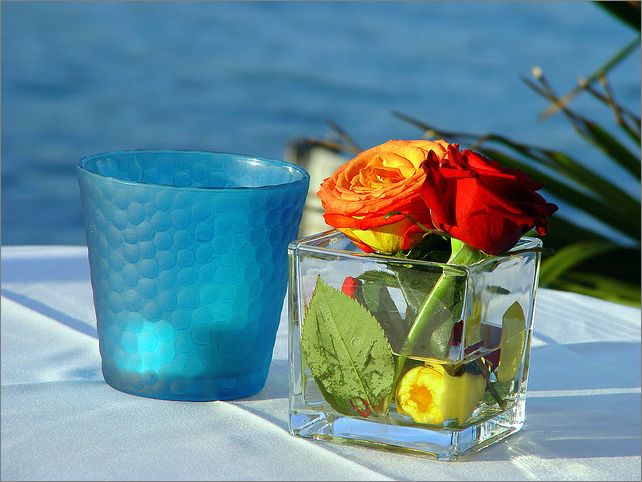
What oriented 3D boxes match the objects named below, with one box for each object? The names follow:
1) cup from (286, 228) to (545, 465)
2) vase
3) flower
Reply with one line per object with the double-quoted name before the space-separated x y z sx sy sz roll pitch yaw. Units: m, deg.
"cup" 0.053 0.068 0.666 0.183 0.140 0.174 2 2 0
"vase" 0.055 0.068 0.667 0.181 0.142 0.175 3 1 35
"flower" 0.068 0.022 0.706 0.219 0.217 0.224 5 16 18
